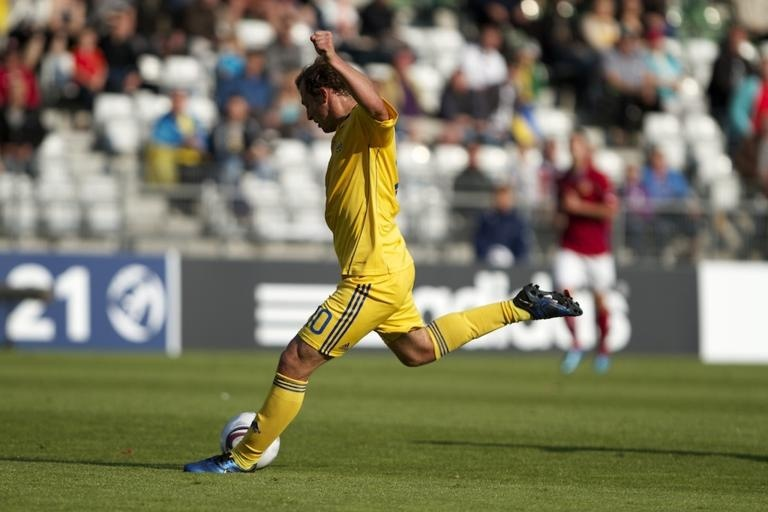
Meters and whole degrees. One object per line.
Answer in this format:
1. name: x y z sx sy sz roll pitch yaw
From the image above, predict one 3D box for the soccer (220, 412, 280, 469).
1. soccer: -1.384 1.886 15.328 0.550 0.568 0.657 -7 -72 1
